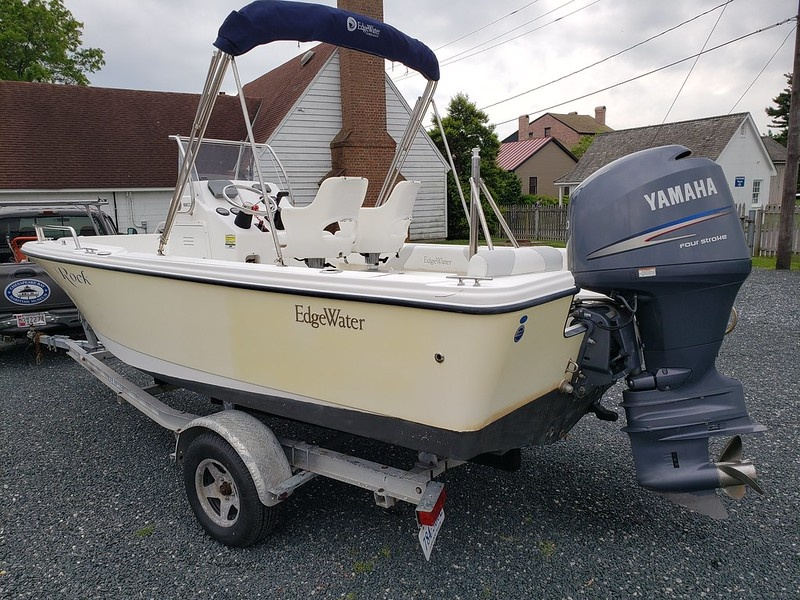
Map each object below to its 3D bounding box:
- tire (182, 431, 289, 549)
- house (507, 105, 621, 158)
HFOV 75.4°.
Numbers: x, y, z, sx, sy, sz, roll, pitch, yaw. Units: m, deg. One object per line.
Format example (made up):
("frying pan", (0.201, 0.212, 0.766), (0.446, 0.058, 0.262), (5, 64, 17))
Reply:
("tire", (-0.920, 1.081, 2.937), (0.502, 0.564, 0.176), (20, 18, 33))
("house", (17.391, -17.192, 54.600), (10.029, 4.820, 9.886), (-8, 14, -27))
